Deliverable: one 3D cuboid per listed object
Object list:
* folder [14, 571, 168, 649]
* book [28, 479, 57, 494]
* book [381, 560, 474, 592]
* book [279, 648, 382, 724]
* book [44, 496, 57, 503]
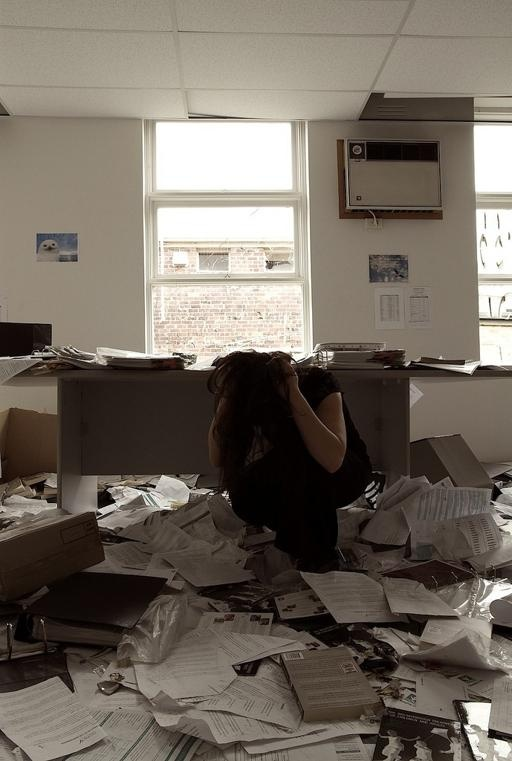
[{"bbox_3d":[-0.373,0.522,1.486,0.279,0.063,0.331,-2,5,7],"label":"folder"},{"bbox_3d":[-1.005,0.511,3.043,0.115,0.031,0.115,1,5,-31],"label":"book"},{"bbox_3d":[0.450,0.507,1.667,0.235,0.030,0.150,-5,6,-31],"label":"book"},{"bbox_3d":[0.133,0.557,1.176,0.143,0.031,0.205,-3,5,-10],"label":"book"},{"bbox_3d":[-0.900,0.530,2.818,0.064,0.016,0.058,2,8,0],"label":"book"}]
